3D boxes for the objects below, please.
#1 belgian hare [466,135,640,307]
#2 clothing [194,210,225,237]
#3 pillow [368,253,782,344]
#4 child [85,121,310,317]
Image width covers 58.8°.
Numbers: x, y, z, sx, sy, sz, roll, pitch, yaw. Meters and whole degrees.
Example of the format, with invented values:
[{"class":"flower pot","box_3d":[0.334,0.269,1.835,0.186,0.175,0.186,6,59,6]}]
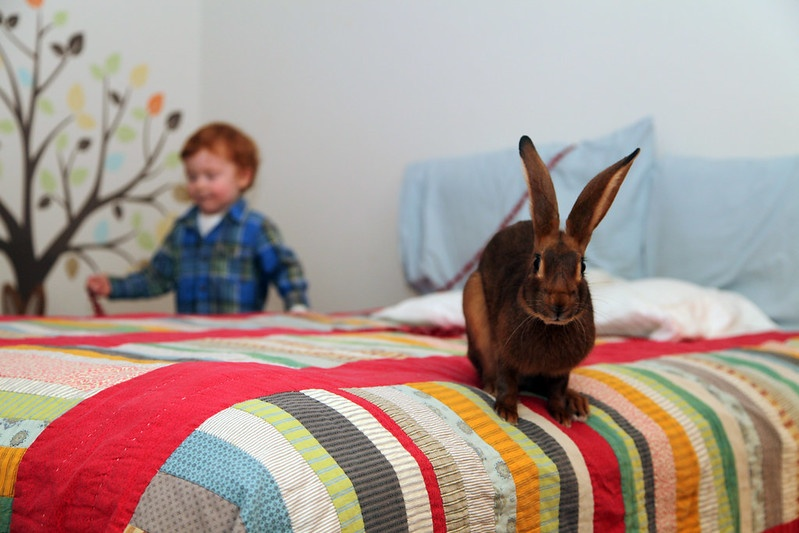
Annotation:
[{"class":"belgian hare","box_3d":[0.375,-0.036,2.014,0.323,0.585,0.616,8,4,-9]},{"class":"clothing","box_3d":[-0.757,-0.173,2.787,0.071,0.103,0.027,2,-6,-2]},{"class":"pillow","box_3d":[0.614,0.100,2.722,0.911,0.202,0.970,16,9,36]},{"class":"child","box_3d":[-0.804,0.002,2.862,0.829,1.161,0.373,2,12,-10]}]
